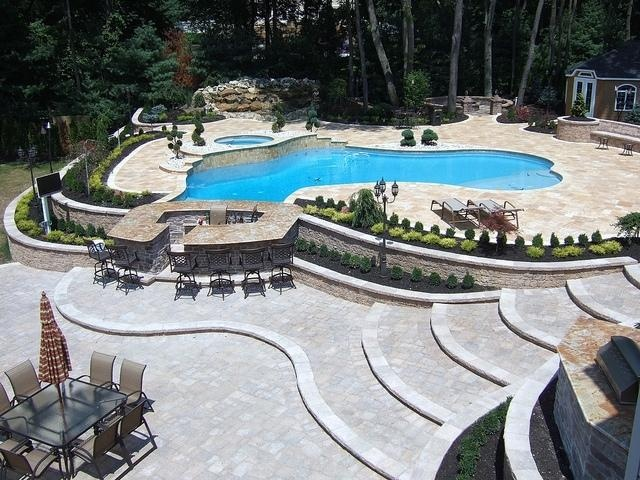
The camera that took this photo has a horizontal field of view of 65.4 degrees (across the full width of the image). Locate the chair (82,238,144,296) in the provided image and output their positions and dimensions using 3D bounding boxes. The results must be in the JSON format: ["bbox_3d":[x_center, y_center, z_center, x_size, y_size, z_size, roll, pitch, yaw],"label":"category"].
[{"bbox_3d":[-7.242,0.968,17.703,1.580,1.262,0.686,17,28,30],"label":"chair"}]

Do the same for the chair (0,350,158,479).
[{"bbox_3d":[-4.838,3.458,10.461,2.333,1.076,2.360,15,29,28],"label":"chair"}]

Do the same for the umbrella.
[{"bbox_3d":[-5.298,2.294,9.909,0.587,2.579,1.357,-11,21,-31],"label":"umbrella"}]
